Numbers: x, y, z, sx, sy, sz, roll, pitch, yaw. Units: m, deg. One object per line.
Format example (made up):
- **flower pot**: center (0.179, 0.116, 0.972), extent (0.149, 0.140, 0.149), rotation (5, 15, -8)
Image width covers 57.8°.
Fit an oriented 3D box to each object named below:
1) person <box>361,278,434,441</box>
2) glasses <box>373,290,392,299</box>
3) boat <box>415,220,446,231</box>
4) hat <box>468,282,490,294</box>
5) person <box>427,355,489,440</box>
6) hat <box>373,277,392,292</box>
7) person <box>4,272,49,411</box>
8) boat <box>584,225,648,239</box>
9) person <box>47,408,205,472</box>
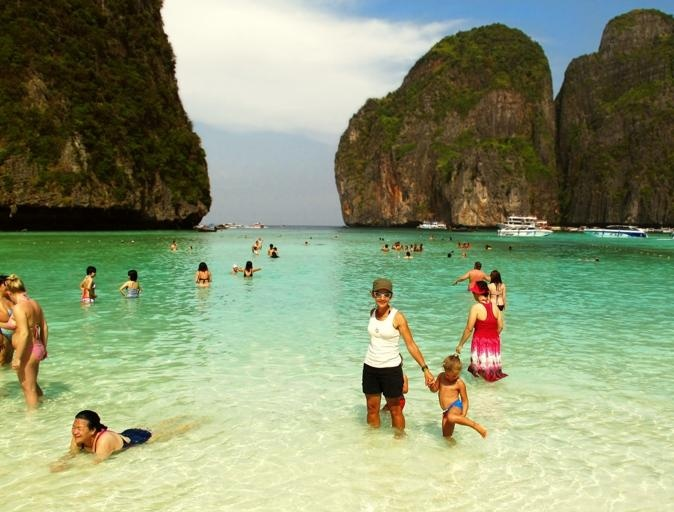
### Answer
- **person**: center (0.894, 1.650, 9.899), extent (0.921, 2.674, 0.449), rotation (2, 14, 4)
- **glasses**: center (0.708, 0.584, 9.608), extent (0.289, 0.190, 0.209), rotation (3, 15, 10)
- **boat**: center (18.615, -5.886, 123.724), extent (6.924, 2.805, 2.259), rotation (4, 5, 16)
- **hat**: center (2.979, 0.723, 12.678), extent (0.275, 0.190, 0.349), rotation (-7, 17, -40)
- **person**: center (2.012, 2.292, 10.153), extent (0.803, 1.449, 0.509), rotation (3, 14, 9)
- **hat**: center (0.720, 0.402, 9.645), extent (0.190, 0.264, 0.264), rotation (4, -15, 7)
- **person**: center (-5.445, 1.521, 10.780), extent (0.577, 2.312, 0.661), rotation (-6, 16, -26)
- **boat**: center (37.481, -3.214, 81.755), extent (2.400, 2.453, 9.320), rotation (-1, 4, -40)
- **person**: center (-3.456, 2.850, 10.155), extent (2.365, 0.729, 0.680), rotation (-5, 7, -39)
